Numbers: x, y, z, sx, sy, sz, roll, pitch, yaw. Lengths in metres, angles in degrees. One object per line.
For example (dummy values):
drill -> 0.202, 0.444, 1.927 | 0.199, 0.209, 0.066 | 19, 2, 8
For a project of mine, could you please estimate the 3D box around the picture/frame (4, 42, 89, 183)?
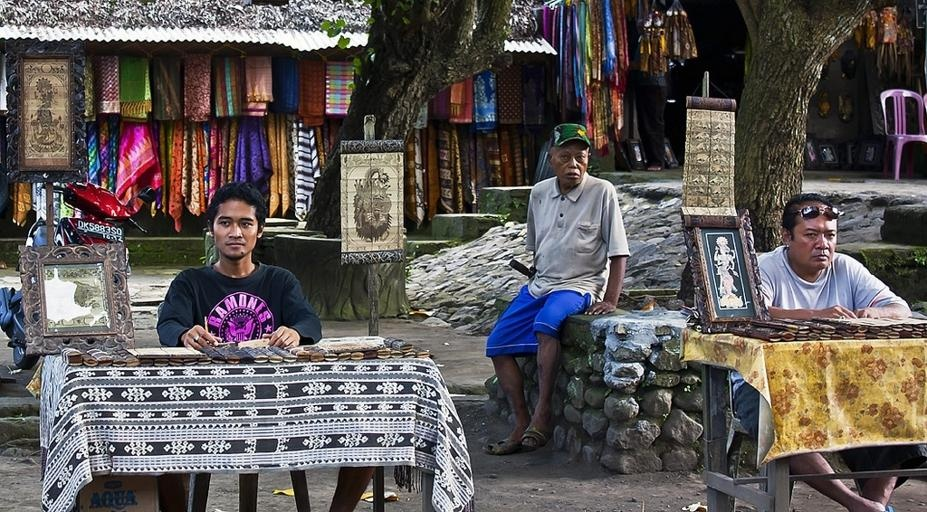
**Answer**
picture/frame -> -3.586, -1.258, 10.614 | 0.645, 1.215, 0.250 | -1, 3, -15

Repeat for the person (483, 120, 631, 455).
person -> 0.943, 0.316, 12.230 | 1.352, 3.242, 0.687 | 0, 3, 3

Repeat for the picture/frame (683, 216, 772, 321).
picture/frame -> 2.267, 0.120, 10.571 | 0.895, 1.238, 0.124 | -6, -9, -24

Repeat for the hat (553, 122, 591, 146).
hat -> 1.069, -1.213, 12.266 | 0.332, 0.233, 0.307 | 0, 3, 1

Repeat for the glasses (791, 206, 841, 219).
glasses -> 3.080, -0.379, 10.707 | 0.382, 0.113, 0.123 | -1, 3, -7

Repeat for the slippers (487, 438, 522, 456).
slippers -> 0.411, 1.887, 12.084 | 0.326, 0.104, 0.144 | 2, -5, -13
